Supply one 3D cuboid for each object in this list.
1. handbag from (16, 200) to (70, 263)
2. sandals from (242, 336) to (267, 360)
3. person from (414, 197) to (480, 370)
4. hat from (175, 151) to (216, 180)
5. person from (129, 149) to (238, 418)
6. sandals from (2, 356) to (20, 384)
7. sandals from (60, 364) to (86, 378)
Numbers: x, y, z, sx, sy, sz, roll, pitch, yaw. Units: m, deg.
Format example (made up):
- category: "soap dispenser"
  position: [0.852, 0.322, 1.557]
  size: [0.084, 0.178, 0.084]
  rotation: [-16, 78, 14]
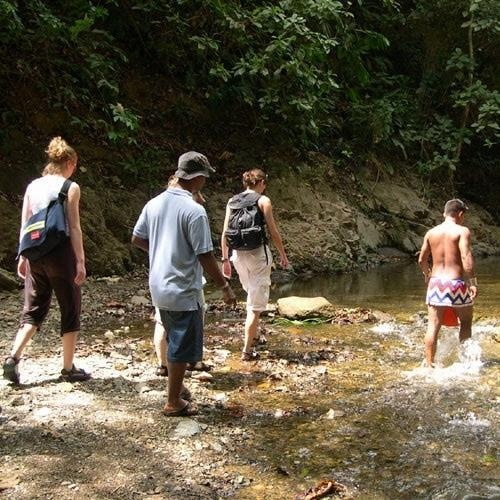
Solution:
- category: "handbag"
  position: [-1.720, -0.159, 5.021]
  size: [0.505, 0.446, 0.197]
  rotation: [-33, -46, 18]
- category: "sandals"
  position: [0.054, 1.143, 6.869]
  size: [0.113, 0.117, 0.311]
  rotation: [19, 32, 21]
- category: "person"
  position: [2.169, 0.382, 6.425]
  size: [0.641, 1.834, 0.737]
  rotation: [6, 11, -3]
- category: "hat"
  position: [-0.436, -0.689, 4.930]
  size: [0.281, 0.136, 0.309]
  rotation: [2, 5, 4]
- category: "person"
  position: [-0.556, 0.288, 4.867]
  size: [0.546, 2.162, 0.691]
  rotation: [-3, 14, -38]
- category: "sandals"
  position: [-2.009, 1.021, 5.088]
  size: [0.137, 0.232, 0.125]
  rotation: [2, 20, -10]
- category: "sandals"
  position: [-1.582, 1.090, 5.415]
  size: [0.238, 0.085, 0.098]
  rotation: [1, 5, -27]
